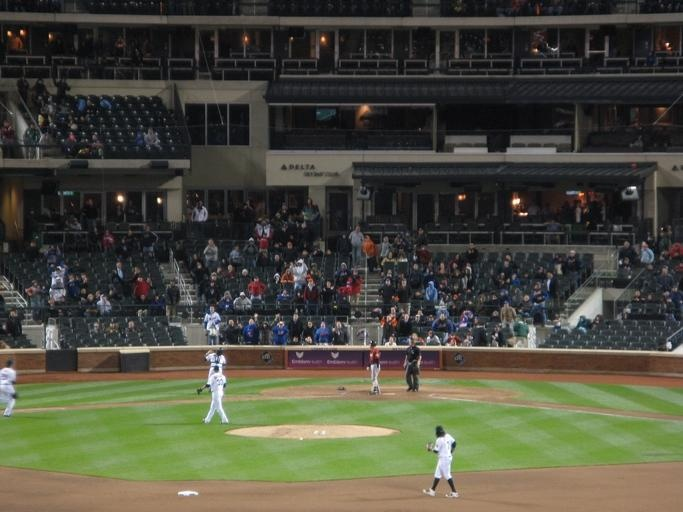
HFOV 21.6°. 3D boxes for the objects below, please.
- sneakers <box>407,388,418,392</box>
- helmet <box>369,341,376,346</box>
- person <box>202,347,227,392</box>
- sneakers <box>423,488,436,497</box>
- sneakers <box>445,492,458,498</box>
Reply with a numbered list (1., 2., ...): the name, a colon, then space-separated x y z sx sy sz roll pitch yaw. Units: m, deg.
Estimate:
1. sneakers: 3.313 6.182 82.722 0.445 0.235 0.170 4 5 1
2. helmet: 1.435 3.959 81.368 0.198 0.199 0.195 4 -3 -31
3. person: -5.490 5.039 77.037 0.806 2.133 0.633 7 -22 -8
4. sneakers: 3.496 9.419 71.121 0.454 0.234 0.245 8 8 38
5. sneakers: 4.371 9.515 70.910 0.387 0.204 0.225 2 7 15
